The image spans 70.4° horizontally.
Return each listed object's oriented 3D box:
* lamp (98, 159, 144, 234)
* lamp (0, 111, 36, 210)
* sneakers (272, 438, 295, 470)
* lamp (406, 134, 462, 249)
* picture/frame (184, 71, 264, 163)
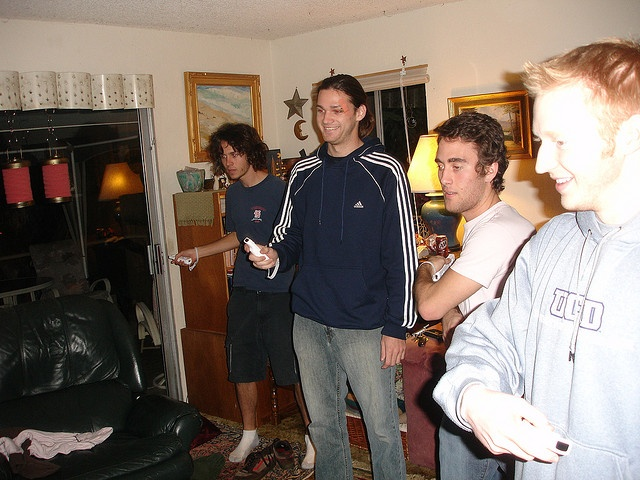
[{"bbox_3d":[-1.699,-0.491,3.840,0.396,0.318,0.089,0,9,18],"label":"lamp"},{"bbox_3d":[-2.337,-0.591,3.470,0.182,0.681,0.476,-8,10,-32],"label":"lamp"},{"bbox_3d":[-0.240,1.401,2.956,0.077,0.087,0.216,-4,6,-19],"label":"sneakers"},{"bbox_3d":[0.892,-0.342,3.366,0.488,0.807,0.483,-1,6,33],"label":"lamp"},{"bbox_3d":[-0.822,-1.122,4.080,0.705,0.686,0.035,7,18,25],"label":"picture/frame"}]
